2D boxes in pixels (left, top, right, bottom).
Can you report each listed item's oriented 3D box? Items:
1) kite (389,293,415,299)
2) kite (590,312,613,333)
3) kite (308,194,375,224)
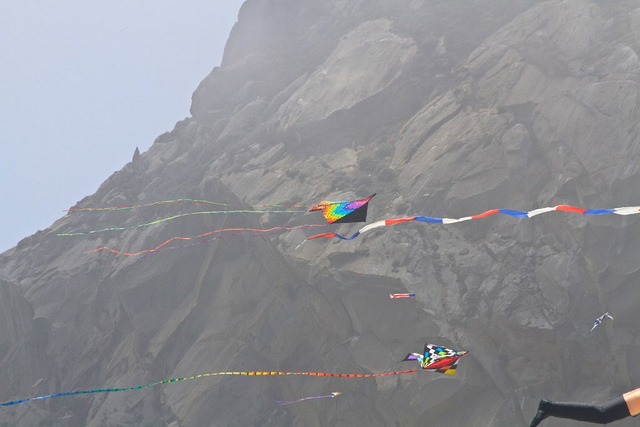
[{"bbox_3d":[6.256,6.339,65.509,2.178,0.586,0.509,-2,-21,9],"label":"kite"},{"bbox_3d":[20.741,7.927,62.871,1.431,0.745,0.430,-51,-7,1],"label":"kite"},{"bbox_3d":[1.627,-0.226,61.967,5.050,2.084,1.566,-1,4,21],"label":"kite"}]
